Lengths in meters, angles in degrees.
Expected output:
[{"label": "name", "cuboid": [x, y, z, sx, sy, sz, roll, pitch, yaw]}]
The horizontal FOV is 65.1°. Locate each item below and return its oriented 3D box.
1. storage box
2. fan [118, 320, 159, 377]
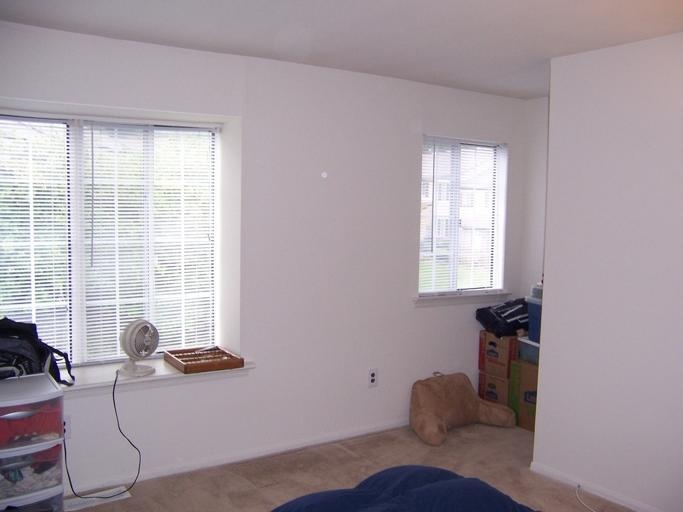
[{"label": "storage box", "cuboid": [1.641, 0.893, 5.090, 0.327, 1.361, 0.750, -4, 7, -32]}, {"label": "fan", "cuboid": [-1.544, 0.692, 4.020, 0.248, 0.393, 0.276, -2, 0, 16]}]
